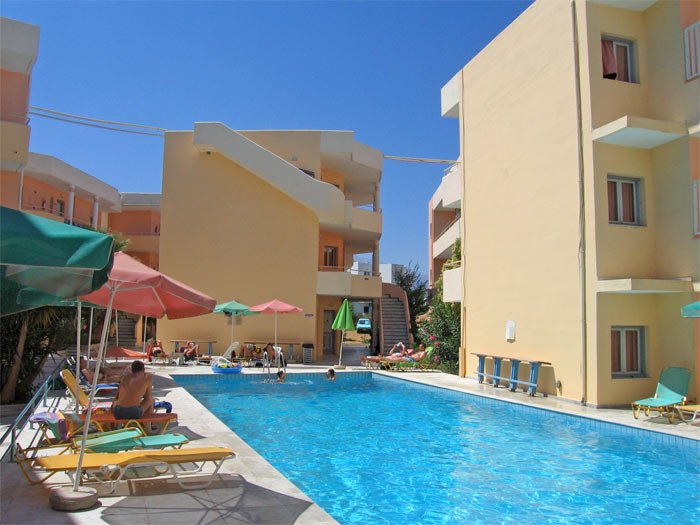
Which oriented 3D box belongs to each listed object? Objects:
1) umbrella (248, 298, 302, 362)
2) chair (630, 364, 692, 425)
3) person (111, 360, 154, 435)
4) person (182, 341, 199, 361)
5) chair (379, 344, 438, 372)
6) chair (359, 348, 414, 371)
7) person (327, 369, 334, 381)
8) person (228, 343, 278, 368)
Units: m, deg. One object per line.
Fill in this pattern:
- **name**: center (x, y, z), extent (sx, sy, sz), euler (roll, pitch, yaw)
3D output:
- **umbrella**: center (-3.326, 2.904, 23.821), extent (2.403, 2.392, 2.523), euler (4, 1, 25)
- **chair**: center (7.771, 3.337, 14.271), extent (1.042, 1.361, 1.732), euler (-4, -2, 45)
- **person**: center (-4.211, 2.620, 11.035), extent (0.716, 1.402, 0.863), euler (6, 1, -21)
- **person**: center (-7.256, 4.028, 25.453), extent (0.557, 0.809, 0.781), euler (1, -12, -3)
- **chair**: center (2.690, 4.212, 24.822), extent (1.948, 0.917, 1.140), euler (2, -7, -3)
- **chair**: center (1.653, 4.254, 24.645), extent (1.539, 0.804, 0.932), euler (3, -9, -10)
- **person**: center (-0.723, 4.301, 21.666), extent (0.299, 0.418, 0.713), euler (-1, -11, -3)
- **person**: center (-4.347, 4.238, 25.627), extent (1.390, 0.716, 2.028), euler (2, -2, -18)
